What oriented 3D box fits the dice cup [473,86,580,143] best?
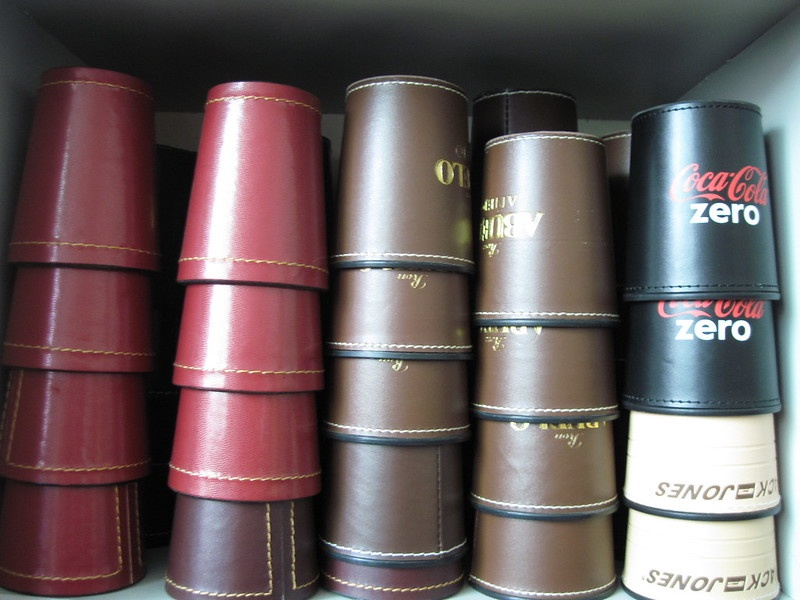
[{"bbox_3d":[0.317,-0.467,1.939,0.222,0.099,0.176,1,0,0],"label":"dice cup"}]
